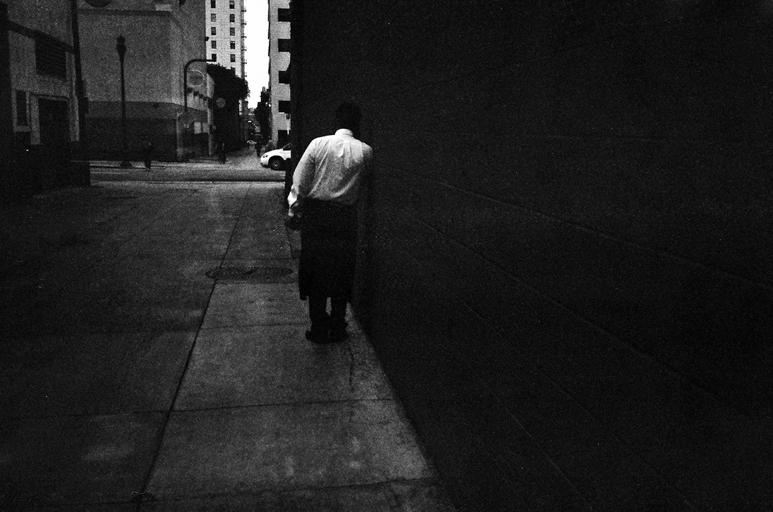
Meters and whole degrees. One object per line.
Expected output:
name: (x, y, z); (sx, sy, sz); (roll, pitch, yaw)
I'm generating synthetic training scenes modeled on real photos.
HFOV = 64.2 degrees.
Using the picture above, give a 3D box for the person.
person: (-0.546, -0.289, 6.066); (0.819, 2.390, 0.365); (-1, 10, -8)
